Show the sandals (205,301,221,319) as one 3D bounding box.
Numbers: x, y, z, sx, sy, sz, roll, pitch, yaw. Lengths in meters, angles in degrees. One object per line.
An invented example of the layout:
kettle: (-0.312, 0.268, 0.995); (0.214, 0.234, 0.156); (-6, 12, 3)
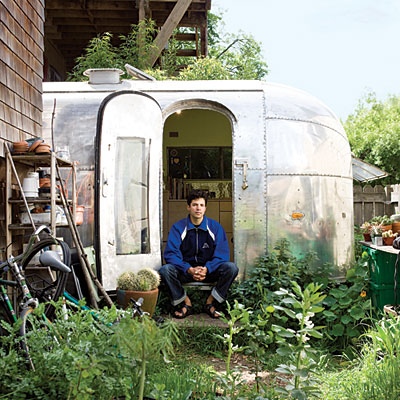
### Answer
sandals: (0.147, 1.198, 5.047); (0.156, 0.158, 0.219); (0, -5, -9)

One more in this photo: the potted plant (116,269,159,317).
potted plant: (-0.611, 0.923, 4.462); (0.401, 0.526, 0.414); (4, -2, 30)

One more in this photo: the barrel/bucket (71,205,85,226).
barrel/bucket: (-1.312, 0.159, 4.918); (0.146, 0.180, 0.150); (-2, -8, 0)

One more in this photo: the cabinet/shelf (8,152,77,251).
cabinet/shelf: (-1.517, 0.006, 4.310); (0.313, 0.985, 0.964); (-1, 0, 0)

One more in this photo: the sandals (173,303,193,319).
sandals: (-0.208, 1.204, 5.078); (0.103, 0.095, 0.205); (1, -4, 34)

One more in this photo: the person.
person: (-0.009, 0.581, 5.192); (0.853, 1.398, 0.584); (-1, -5, 3)
